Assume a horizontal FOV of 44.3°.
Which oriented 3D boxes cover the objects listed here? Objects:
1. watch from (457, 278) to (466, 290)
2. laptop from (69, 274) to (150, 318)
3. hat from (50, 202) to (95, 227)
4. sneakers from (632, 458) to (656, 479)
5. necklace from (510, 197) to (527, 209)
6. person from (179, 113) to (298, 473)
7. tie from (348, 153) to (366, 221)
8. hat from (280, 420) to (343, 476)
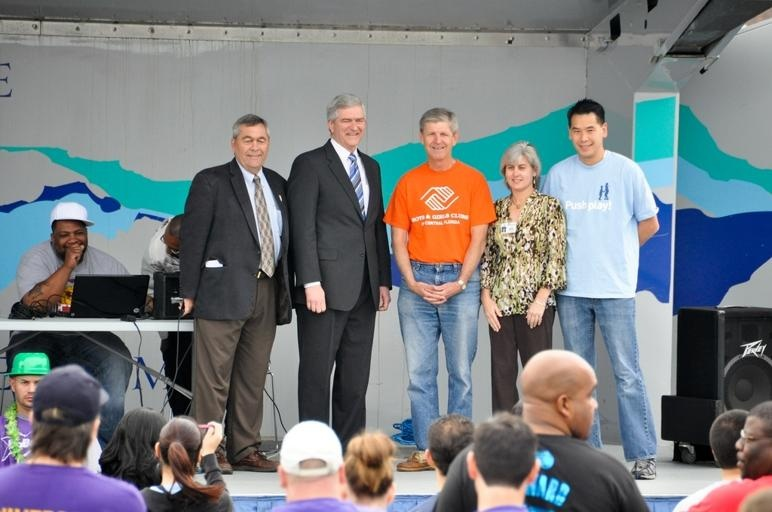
[{"bbox_3d":[0.529,0.185,6.510,0.048,0.067,0.071,-11,5,-32],"label":"watch"},{"bbox_3d":[-1.973,0.346,6.833,0.544,0.330,0.364,0,-23,-10],"label":"laptop"},{"bbox_3d":[-2.429,-0.351,7.222,0.286,0.132,0.218,-4,-4,45],"label":"hat"},{"bbox_3d":[1.752,1.439,6.382,0.097,0.096,0.223,-4,-12,21],"label":"sneakers"},{"bbox_3d":[0.927,-0.394,6.596,0.086,0.080,0.020,-6,-10,20],"label":"necklace"},{"bbox_3d":[-0.977,0.236,6.610,0.961,2.458,0.638,3,-5,-31],"label":"person"},{"bbox_3d":[-0.202,-0.518,6.580,0.081,0.524,0.063,-11,-17,-15],"label":"tie"},{"bbox_3d":[-0.333,0.871,4.292,0.280,0.249,0.094,1,-13,-5],"label":"hat"}]
